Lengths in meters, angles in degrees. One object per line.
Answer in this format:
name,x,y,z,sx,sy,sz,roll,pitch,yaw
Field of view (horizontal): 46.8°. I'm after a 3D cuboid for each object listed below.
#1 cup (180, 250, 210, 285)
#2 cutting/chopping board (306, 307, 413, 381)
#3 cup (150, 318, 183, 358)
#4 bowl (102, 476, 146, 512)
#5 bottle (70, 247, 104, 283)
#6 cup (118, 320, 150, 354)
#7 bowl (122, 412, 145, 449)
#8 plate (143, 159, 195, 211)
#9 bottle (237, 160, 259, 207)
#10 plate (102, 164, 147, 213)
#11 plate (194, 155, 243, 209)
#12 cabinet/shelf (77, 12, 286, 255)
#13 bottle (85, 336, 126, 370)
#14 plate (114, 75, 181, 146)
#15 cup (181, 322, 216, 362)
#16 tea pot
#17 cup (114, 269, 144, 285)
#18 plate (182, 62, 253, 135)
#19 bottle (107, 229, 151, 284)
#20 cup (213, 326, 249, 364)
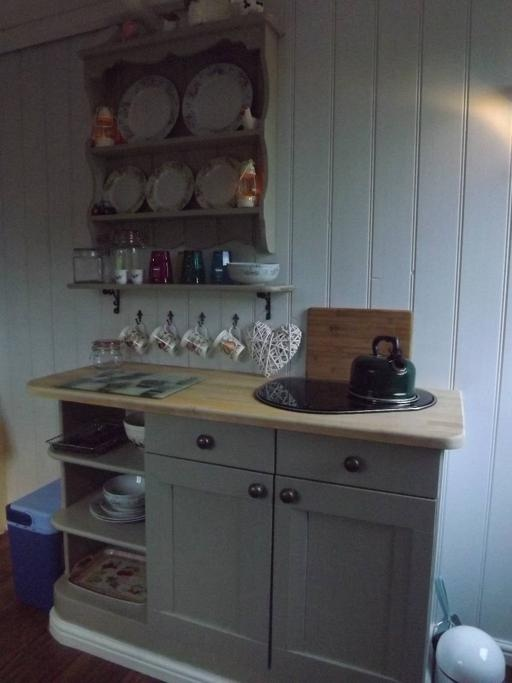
cup,-0.229,-0.262,2.142,0.123,0.142,0.112,0,8,0
cutting/chopping board,0.350,0.003,1.926,0.251,0.177,0.026,4,11,22
cup,-0.341,-0.013,2.312,0.103,0.133,0.138,2,-26,4
bowl,-0.469,0.533,2.102,0.129,0.057,0.128,1,8,0
bottle,-0.680,-0.310,2.391,0.165,0.151,0.091,5,13,24
cup,-0.484,-0.017,2.343,0.102,0.130,0.047,28,29,28
bowl,-0.405,0.294,1.990,0.108,0.087,0.116,1,9,0
plate,-0.319,-0.571,2.187,0.199,0.196,0.028,24,13,21
bottle,-0.031,-0.532,2.026,0.069,0.171,0.127,0,2,1
plate,-0.498,-0.586,2.271,0.183,0.180,0.025,11,10,25
plate,-0.138,-0.564,2.108,0.174,0.180,0.043,1,3,31
cabinet/shelf,-0.243,-0.752,2.111,0.919,0.854,0.214,2,5,26
bottle,-0.589,0.043,2.314,0.121,0.101,0.119,3,8,10
plate,-0.397,-0.854,2.189,0.281,0.276,0.047,15,9,22
cup,-0.216,-0.001,2.248,0.097,0.113,0.074,25,-26,2
tea pot,0.360,0.083,1.756,0.150,0.169,0.215,-1,1,-24
cup,-0.483,-0.246,2.249,0.100,0.066,0.063,1,8,5
plate,-0.140,-0.846,2.066,0.276,0.270,0.041,0,8,27
bottle,-0.497,-0.329,2.272,0.164,0.254,0.156,1,17,0
cup,-0.092,0.013,2.176,0.110,0.128,0.114,0,2,0
